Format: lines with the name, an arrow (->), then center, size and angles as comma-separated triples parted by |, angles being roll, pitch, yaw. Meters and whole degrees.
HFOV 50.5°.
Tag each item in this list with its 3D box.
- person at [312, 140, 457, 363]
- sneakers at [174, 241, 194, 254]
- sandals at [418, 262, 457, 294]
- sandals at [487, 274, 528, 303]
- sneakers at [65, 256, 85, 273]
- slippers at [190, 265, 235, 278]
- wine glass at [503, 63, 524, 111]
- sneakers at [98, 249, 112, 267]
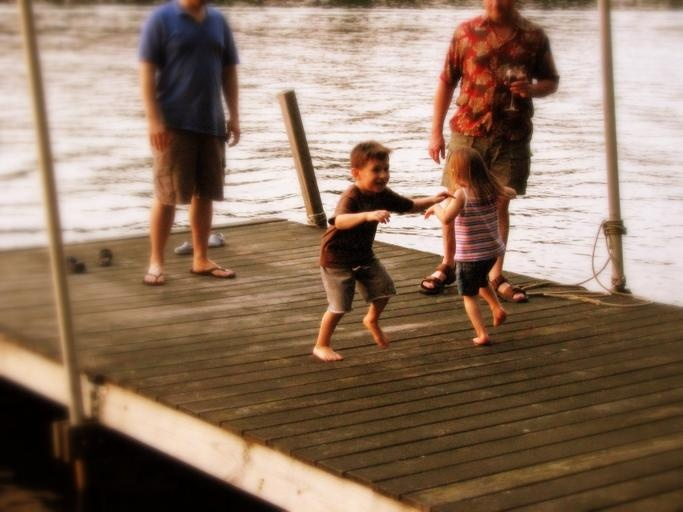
person -> 0.129, -0.040, 4.060 | 0.560, 1.206, 0.759 | 15, 29, 31
sneakers -> -1.284, -0.067, 5.968 | 0.183, 0.076, 0.085 | 0, 3, 2
sandals -> 0.687, 0.166, 5.098 | 0.137, 0.120, 0.392 | 11, 18, 40
sandals -> 1.136, 0.211, 5.001 | 0.157, 0.081, 0.381 | -13, 18, -26
sneakers -> -2.003, 0.060, 5.476 | 0.132, 0.056, 0.177 | -1, 12, -20
slippers -> -0.966, 0.112, 5.402 | 0.332, 0.060, 0.109 | 1, 1, 14
wine glass -> 1.116, -1.083, 4.708 | 0.122, 0.289, 0.184 | 3, 24, 11
sneakers -> -1.857, 0.008, 5.691 | 0.081, 0.086, 0.197 | -8, 26, -15
